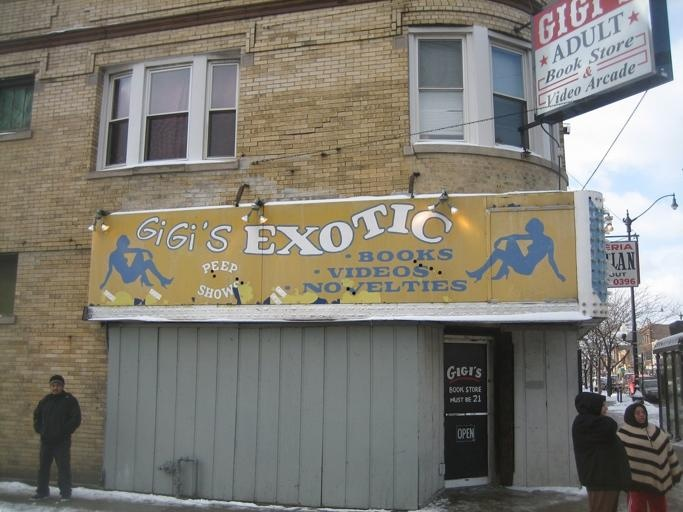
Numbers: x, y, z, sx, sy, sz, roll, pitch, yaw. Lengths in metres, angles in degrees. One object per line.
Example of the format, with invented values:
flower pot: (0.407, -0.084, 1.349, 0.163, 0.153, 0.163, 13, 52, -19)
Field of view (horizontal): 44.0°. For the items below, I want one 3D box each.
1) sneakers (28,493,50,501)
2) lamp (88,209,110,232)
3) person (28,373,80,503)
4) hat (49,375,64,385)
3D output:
sneakers: (-5.445, 4.344, 15.282, 0.204, 0.081, 0.139, 5, -11, -6)
lamp: (-4.615, -0.704, 16.396, 0.407, 0.467, 0.395, 4, -10, -6)
person: (-5.196, 3.298, 15.525, 0.828, 2.231, 0.396, 0, -12, -9)
hat: (-5.259, 2.312, 15.737, 0.178, 0.145, 0.250, 4, -39, -16)
